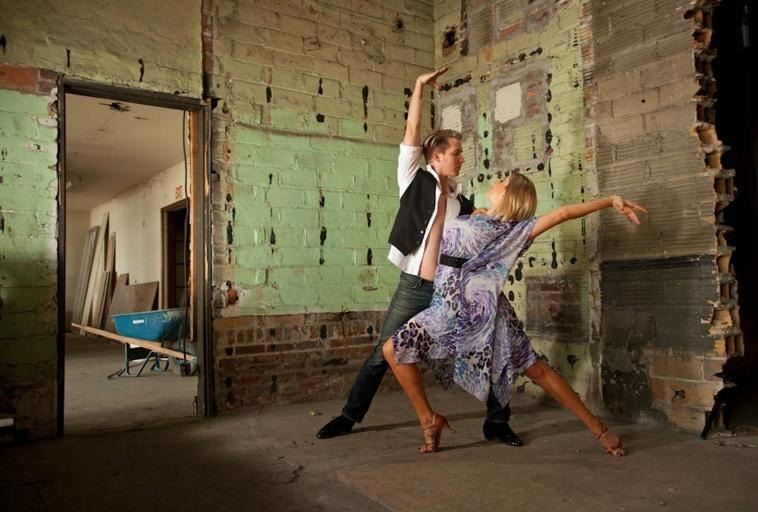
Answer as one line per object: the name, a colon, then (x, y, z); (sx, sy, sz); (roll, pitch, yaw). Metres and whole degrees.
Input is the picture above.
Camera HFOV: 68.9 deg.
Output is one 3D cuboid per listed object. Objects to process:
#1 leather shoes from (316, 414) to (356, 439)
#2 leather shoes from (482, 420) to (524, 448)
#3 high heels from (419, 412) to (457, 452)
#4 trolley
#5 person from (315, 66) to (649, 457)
leather shoes: (-0.317, 1.306, 4.243); (0.348, 0.142, 0.116); (3, 3, -35)
leather shoes: (0.891, 1.288, 4.011); (0.115, 0.130, 0.320); (7, -11, -41)
high heels: (0.392, 1.221, 3.801); (0.212, 0.416, 0.138); (11, 36, 0)
trolley: (-3.012, 1.078, 6.741); (2.146, 0.615, 0.601); (-8, -23, 28)
person: (0.656, 0.050, 3.843); (1.599, 2.612, 0.528); (-1, 2, 3)
